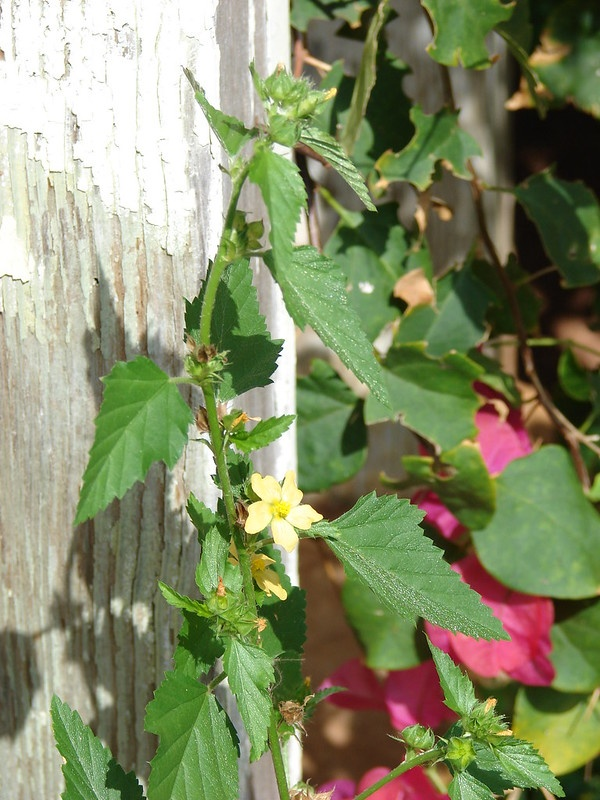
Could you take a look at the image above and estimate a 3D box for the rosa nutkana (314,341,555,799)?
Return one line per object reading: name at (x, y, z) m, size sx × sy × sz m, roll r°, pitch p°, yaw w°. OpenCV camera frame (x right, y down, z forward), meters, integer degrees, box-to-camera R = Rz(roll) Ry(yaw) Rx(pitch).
rosa nutkana at (0.159, 0.205, 1.332) m, size 0.387 × 0.494 × 0.359 m, roll -14°, pitch 36°, yaw -17°
